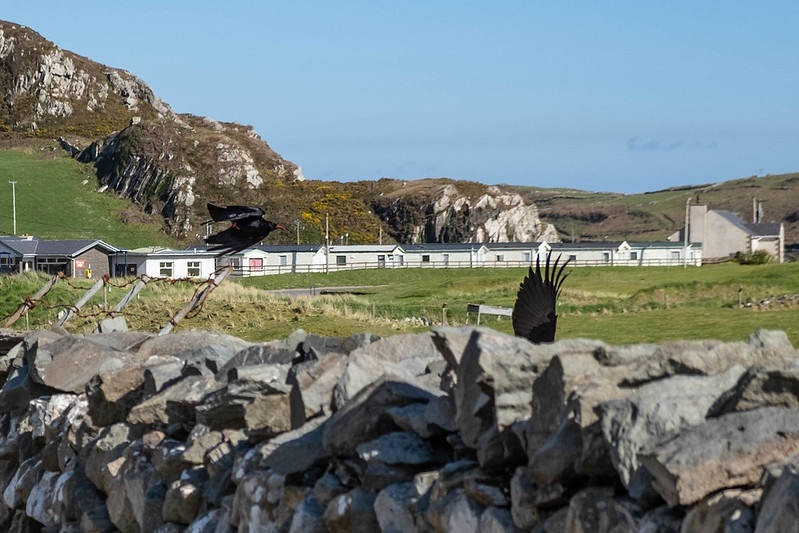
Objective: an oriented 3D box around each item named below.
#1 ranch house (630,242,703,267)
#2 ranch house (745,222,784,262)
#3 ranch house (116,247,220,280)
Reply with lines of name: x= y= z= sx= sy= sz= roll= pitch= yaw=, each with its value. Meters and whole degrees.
ranch house: x=50.881 y=-2.303 z=258.868 sx=14.433 sy=4.497 sz=5.325 roll=1 pitch=0 yaw=-10
ranch house: x=70.520 y=-5.018 z=263.489 sx=7.233 sy=6.879 sz=5.731 roll=1 pitch=15 yaw=-12
ranch house: x=-39.778 y=-0.363 z=229.111 sx=16.244 sy=4.854 sz=5.454 roll=1 pitch=0 yaw=-20
